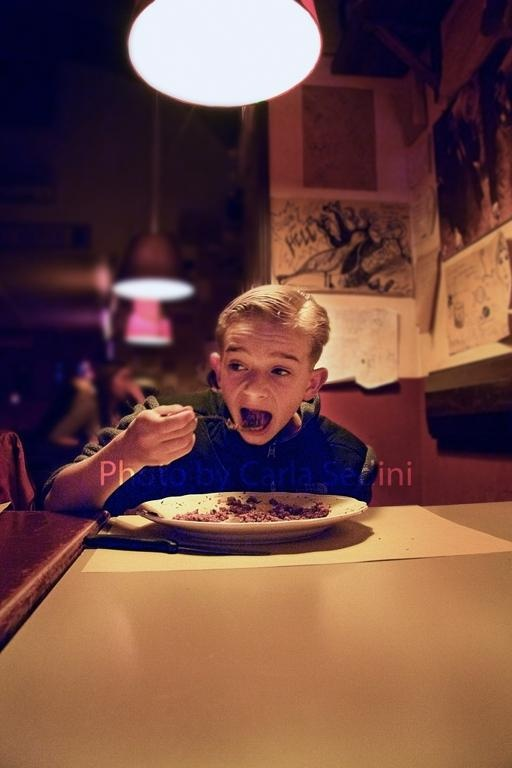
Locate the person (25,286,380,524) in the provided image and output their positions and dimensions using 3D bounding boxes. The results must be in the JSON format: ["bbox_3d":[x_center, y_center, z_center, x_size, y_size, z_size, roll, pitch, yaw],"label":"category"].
[{"bbox_3d":[-0.122,0.030,1.390,0.460,0.533,0.794,3,6,43],"label":"person"}]

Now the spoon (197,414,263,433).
[{"bbox_3d":[-0.058,0.096,1.503,0.100,0.032,0.026,16,3,19],"label":"spoon"}]
